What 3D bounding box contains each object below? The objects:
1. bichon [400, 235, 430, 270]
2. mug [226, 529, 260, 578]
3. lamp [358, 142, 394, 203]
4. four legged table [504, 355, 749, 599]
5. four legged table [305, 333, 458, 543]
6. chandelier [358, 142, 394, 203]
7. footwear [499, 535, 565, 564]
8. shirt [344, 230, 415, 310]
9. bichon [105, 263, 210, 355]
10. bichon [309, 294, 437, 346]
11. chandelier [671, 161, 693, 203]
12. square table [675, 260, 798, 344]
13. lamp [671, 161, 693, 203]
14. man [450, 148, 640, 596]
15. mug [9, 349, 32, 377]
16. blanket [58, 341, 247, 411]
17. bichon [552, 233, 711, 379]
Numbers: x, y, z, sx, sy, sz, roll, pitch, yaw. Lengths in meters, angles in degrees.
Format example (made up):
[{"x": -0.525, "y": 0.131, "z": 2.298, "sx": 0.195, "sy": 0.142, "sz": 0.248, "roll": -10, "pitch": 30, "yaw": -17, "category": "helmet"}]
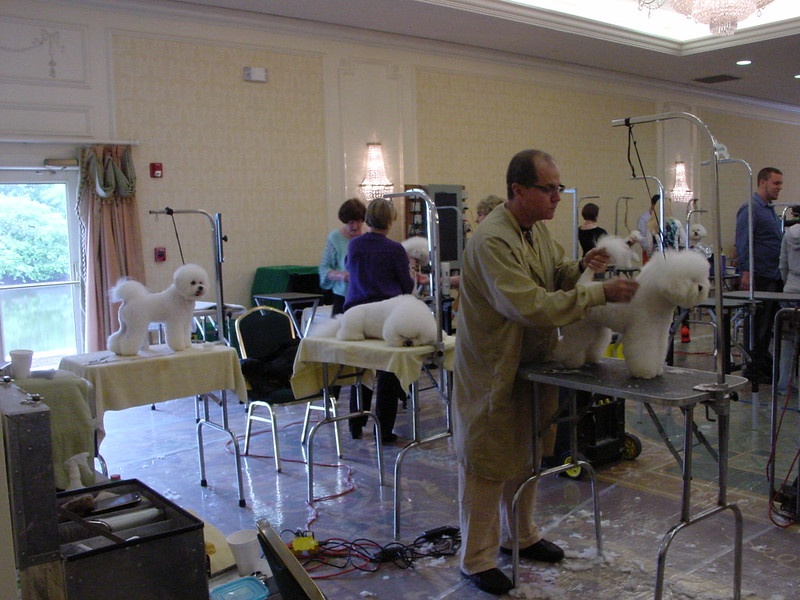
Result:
[{"x": 0.122, "y": -0.341, "z": 4.906, "sx": 0.181, "sy": 0.182, "sz": 0.234, "roll": 0, "pitch": 7, "yaw": -35, "category": "bichon"}, {"x": -0.627, "y": 1.023, "z": 2.811, "sx": 0.160, "sy": 0.167, "sz": 0.162, "roll": -4, "pitch": -8, "yaw": 2, "category": "mug"}, {"x": -0.261, "y": -1.530, "z": 8.192, "sx": 0.360, "sy": 0.688, "sz": 0.324, "roll": -12, "pitch": 14, "yaw": -43, "category": "lamp"}, {"x": 1.153, "y": 0.979, "z": 3.642, "sx": 0.610, "sy": 1.088, "sz": 1.106, "roll": -4, "pitch": 6, "yaw": -37, "category": "four legged table"}, {"x": -0.052, "y": 0.728, "z": 4.442, "sx": 1.059, "sy": 1.051, "sz": 1.125, "roll": 2, "pitch": 4, "yaw": 37, "category": "four legged table"}, {"x": -0.261, "y": -1.530, "z": 8.192, "sx": 0.360, "sy": 0.688, "sz": 0.324, "roll": -12, "pitch": 14, "yaw": -43, "category": "chandelier"}, {"x": 0.689, "y": 1.308, "z": 3.639, "sx": 0.305, "sy": 0.121, "sz": 0.110, "roll": -4, "pitch": 1, "yaw": 15, "category": "footwear"}, {"x": -0.143, "y": -0.263, "z": 4.864, "sx": 0.568, "sy": 0.673, "sz": 0.498, "roll": 4, "pitch": 9, "yaw": 28, "category": "shirt"}, {"x": -1.698, "y": 0.074, "z": 4.794, "sx": 0.833, "sy": 0.714, "sz": 0.336, "roll": -1, "pitch": 2, "yaw": -29, "category": "bichon"}, {"x": -0.136, "y": 0.122, "z": 4.232, "sx": 0.817, "sy": 0.322, "sz": 0.529, "roll": 7, "pitch": 11, "yaw": 42, "category": "bichon"}, {"x": 4.768, "y": -1.999, "z": 11.715, "sx": 0.271, "sy": 0.687, "sz": 0.763, "roll": 7, "pitch": 14, "yaw": 42, "category": "chandelier"}, {"x": 2.593, "y": 0.029, "z": 5.254, "sx": 0.965, "sy": 0.699, "sz": 0.940, "roll": -7, "pitch": 8, "yaw": -42, "category": "square table"}, {"x": 4.768, "y": -1.999, "z": 11.715, "sx": 0.271, "sy": 0.687, "sz": 0.763, "roll": 7, "pitch": 14, "yaw": 42, "category": "lamp"}, {"x": 0.668, "y": 0.170, "z": 3.292, "sx": 0.770, "sy": 1.115, "sz": 0.709, "roll": 9, "pitch": 18, "yaw": 40, "category": "man"}, {"x": -2.077, "y": 0.340, "z": 3.805, "sx": 0.143, "sy": 0.151, "sz": 0.138, "roll": 0, "pitch": 6, "yaw": -26, "category": "mug"}, {"x": -1.483, "y": 0.501, "z": 4.234, "sx": 0.973, "sy": 0.389, "sz": 0.404, "roll": -9, "pitch": 12, "yaw": -34, "category": "blanket"}, {"x": 1.051, "y": 0.036, "z": 3.172, "sx": 0.634, "sy": 0.613, "sz": 0.251, "roll": 6, "pitch": 12, "yaw": 37, "category": "bichon"}]
